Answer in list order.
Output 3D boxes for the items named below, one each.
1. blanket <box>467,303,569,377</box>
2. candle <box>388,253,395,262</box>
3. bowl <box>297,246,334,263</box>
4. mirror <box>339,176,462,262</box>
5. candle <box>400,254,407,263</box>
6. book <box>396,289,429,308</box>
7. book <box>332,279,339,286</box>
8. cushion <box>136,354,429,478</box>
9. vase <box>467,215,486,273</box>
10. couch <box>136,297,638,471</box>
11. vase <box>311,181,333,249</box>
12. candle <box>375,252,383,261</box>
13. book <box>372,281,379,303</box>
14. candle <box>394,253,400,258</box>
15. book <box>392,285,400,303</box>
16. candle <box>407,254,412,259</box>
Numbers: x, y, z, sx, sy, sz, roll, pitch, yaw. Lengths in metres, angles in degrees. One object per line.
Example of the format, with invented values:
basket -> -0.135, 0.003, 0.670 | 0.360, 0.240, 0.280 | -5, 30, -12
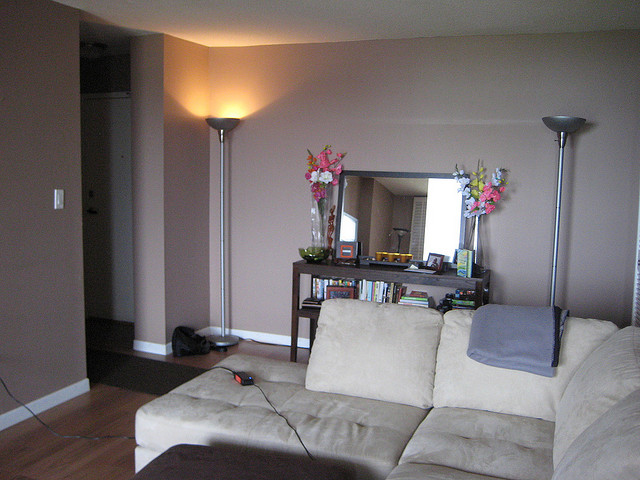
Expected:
blanket -> 1.060, 0.538, 2.899 | 0.420, 0.151, 0.422 | 3, 38, 24
candle -> 0.627, 0.163, 4.736 | 0.061, 0.086, 0.062 | 2, 2, 39
bowl -> -0.021, 0.128, 4.802 | 0.337, 0.131, 0.244 | 0, 6, -15
mirror -> 0.685, -0.142, 4.800 | 1.345, 0.928, 0.050 | 4, 10, -22
candle -> 0.733, 0.166, 4.706 | 0.063, 0.071, 0.038 | 2, 6, 9
book -> 0.786, 0.493, 4.485 | 0.197, 0.049, 0.208 | 6, 14, 34
book -> 0.134, 0.377, 4.684 | 0.058, 0.056, 0.043 | 2, -1, 20
cushion -> -0.207, 1.024, 2.962 | 1.430, 0.304, 0.735 | 4, 6, 24
vase -> 1.340, 0.019, 4.584 | 0.132, 0.465, 0.193 | 7, 8, 43
couch -> 0.436, 0.726, 2.883 | 2.274, 0.652, 0.827 | 3, 6, 15
vase -> 0.009, -0.238, 4.991 | 0.186, 0.590, 0.133 | 2, 6, 5
candle -> 0.526, 0.159, 4.809 | 0.067, 0.069, 0.066 | 0, 3, -29
book -> 0.467, 0.438, 4.503 | 0.089, 0.156, 0.159 | 2, 4, 6
candle -> 0.683, 0.140, 4.761 | 0.046, 0.036, 0.058 | 2, 6, 9
book -> 0.649, 0.462, 4.559 | 0.047, 0.140, 0.148 | 2, 2, 17
candle -> 0.790, 0.147, 4.712 | 0.033, 0.033, 0.033 | 0, -1, -38
